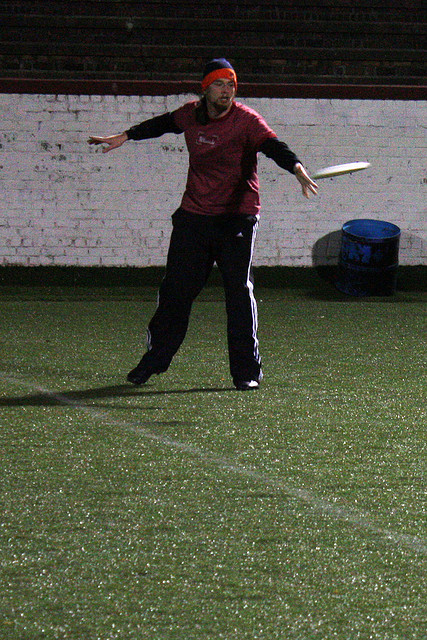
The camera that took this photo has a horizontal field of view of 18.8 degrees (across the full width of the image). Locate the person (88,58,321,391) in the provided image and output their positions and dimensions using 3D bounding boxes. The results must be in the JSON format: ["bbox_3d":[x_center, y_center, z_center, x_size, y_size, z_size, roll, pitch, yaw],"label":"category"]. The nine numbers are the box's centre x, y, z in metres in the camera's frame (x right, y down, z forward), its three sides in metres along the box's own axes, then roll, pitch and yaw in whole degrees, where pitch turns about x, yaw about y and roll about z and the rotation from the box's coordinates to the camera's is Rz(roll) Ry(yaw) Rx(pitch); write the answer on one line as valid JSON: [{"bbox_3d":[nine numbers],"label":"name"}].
[{"bbox_3d":[0.015,-0.429,6.002,0.937,1.533,0.342,5,12,26],"label":"person"}]
